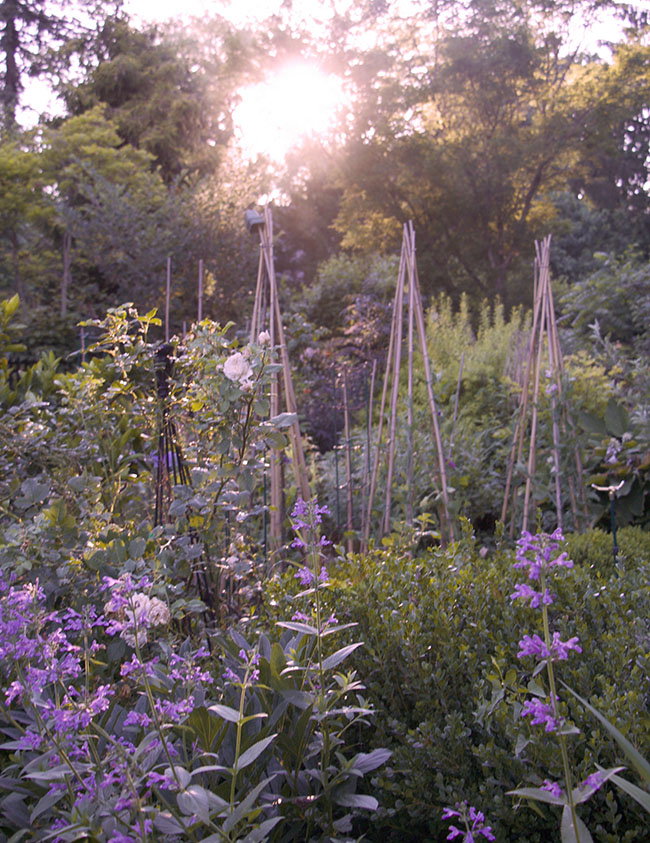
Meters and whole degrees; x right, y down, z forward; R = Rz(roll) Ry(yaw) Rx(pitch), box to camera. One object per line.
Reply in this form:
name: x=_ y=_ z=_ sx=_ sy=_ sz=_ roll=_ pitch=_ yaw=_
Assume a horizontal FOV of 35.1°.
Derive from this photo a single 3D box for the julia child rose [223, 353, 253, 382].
julia child rose: x=-0.268 y=-0.160 z=3.165 sx=0.108 sy=0.092 sz=0.073 roll=4 pitch=-4 yaw=-44
